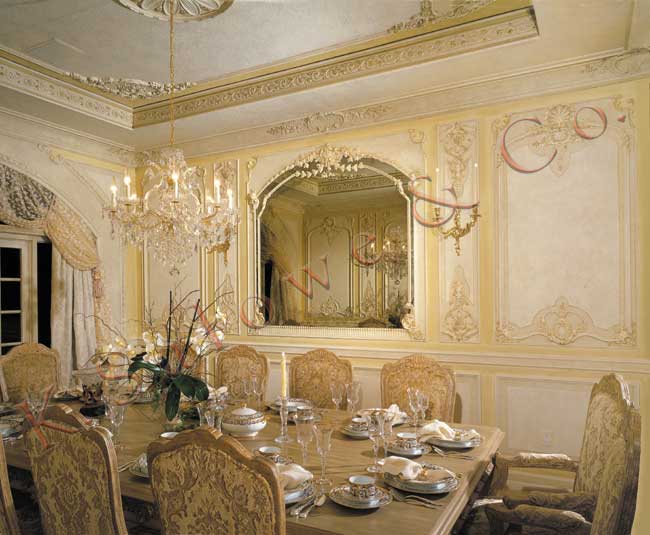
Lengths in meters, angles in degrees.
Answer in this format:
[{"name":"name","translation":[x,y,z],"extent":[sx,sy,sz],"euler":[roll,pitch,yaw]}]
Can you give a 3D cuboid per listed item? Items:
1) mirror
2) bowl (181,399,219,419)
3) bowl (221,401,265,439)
[{"name":"mirror","translation":[0.123,-0.263,5.273],"extent":[1.792,1.947,0.119],"euler":[-2,-4,26]},{"name":"bowl","translation":[-0.669,0.762,2.882],"extent":[0.162,0.076,0.168],"euler":[1,-2,0]},{"name":"bowl","translation":[-0.490,0.898,3.161],"extent":[0.184,0.104,0.164],"euler":[-2,-3,-3]}]
